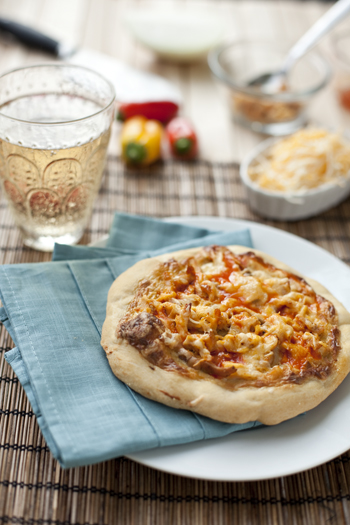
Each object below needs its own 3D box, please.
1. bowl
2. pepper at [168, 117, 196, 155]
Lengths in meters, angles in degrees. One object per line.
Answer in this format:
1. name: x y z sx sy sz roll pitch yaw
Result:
1. bowl: 0.282 -0.557 1.579 0.407 0.192 0.330 11 48 6
2. pepper: 0.027 -0.492 1.935 0.086 0.092 0.175 -14 45 -1
